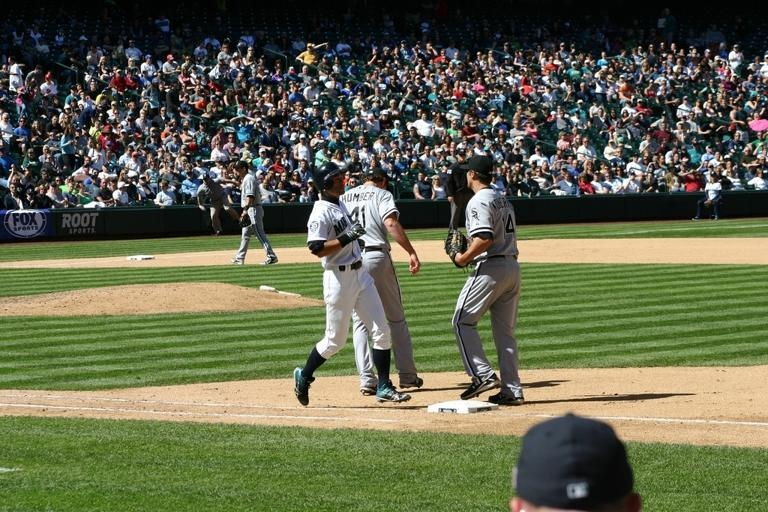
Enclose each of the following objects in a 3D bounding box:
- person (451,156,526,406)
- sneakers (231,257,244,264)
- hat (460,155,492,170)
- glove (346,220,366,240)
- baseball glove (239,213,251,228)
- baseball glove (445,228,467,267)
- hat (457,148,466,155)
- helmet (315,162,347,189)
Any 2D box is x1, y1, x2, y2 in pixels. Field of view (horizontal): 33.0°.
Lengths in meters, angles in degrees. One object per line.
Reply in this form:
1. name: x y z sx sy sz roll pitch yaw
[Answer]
1. person: 1.564 0.383 19.130 1.039 3.680 0.612 0 6 4
2. sneakers: -3.379 0.153 30.250 0.129 0.146 0.340 -3 9 -33
3. hat: 1.427 -1.359 19.201 0.327 0.174 0.240 20 27 34
4. glove: -0.396 -0.339 19.076 0.251 0.239 0.363 -1 5 0
5. baseball glove: -3.150 -0.782 29.356 0.291 0.227 0.222 -21 33 -40
6. baseball glove: 1.078 -0.119 19.172 0.229 0.508 0.387 -7 -32 -6
7. hat: 2.459 -3.209 40.319 0.271 0.212 0.153 -2 6 -15
8. helmet: -0.787 -1.198 19.234 0.453 0.327 0.354 -20 11 0
